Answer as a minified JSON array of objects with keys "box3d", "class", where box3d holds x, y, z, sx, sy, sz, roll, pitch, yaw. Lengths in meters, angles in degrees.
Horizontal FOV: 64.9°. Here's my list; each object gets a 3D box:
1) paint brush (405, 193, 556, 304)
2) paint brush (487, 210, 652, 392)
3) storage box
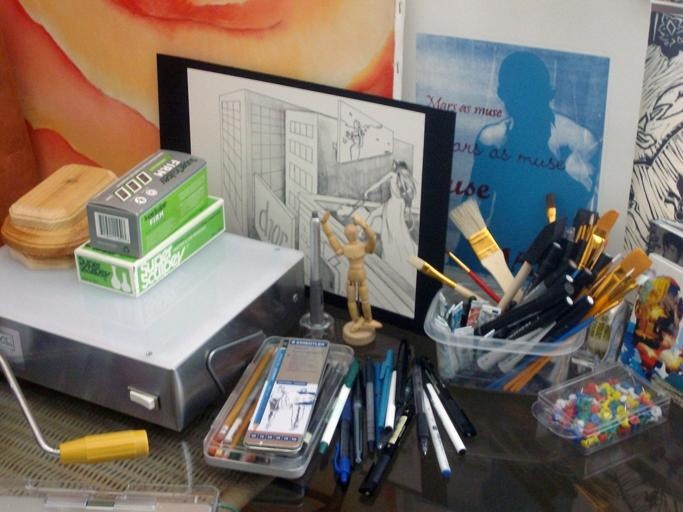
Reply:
[{"box3d":[0.203,-0.004,0.824,0.192,0.152,0.038,48,7,9],"class":"paint brush"},{"box3d":[0.318,0.075,0.708,0.193,0.228,0.084,-22,39,-37],"class":"paint brush"},{"box3d":[0.216,0.088,0.700,0.164,0.078,0.139,10,28,22],"class":"storage box"}]
